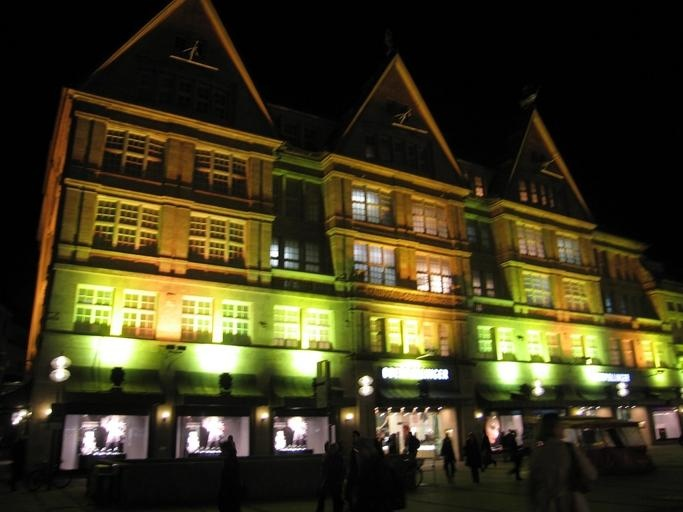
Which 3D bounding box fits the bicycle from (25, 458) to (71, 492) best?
[{"bbox_3d":[-13.262,10.043,28.437,2.472,1.367,1.513,15,-28,-37],"label":"bicycle"}]
